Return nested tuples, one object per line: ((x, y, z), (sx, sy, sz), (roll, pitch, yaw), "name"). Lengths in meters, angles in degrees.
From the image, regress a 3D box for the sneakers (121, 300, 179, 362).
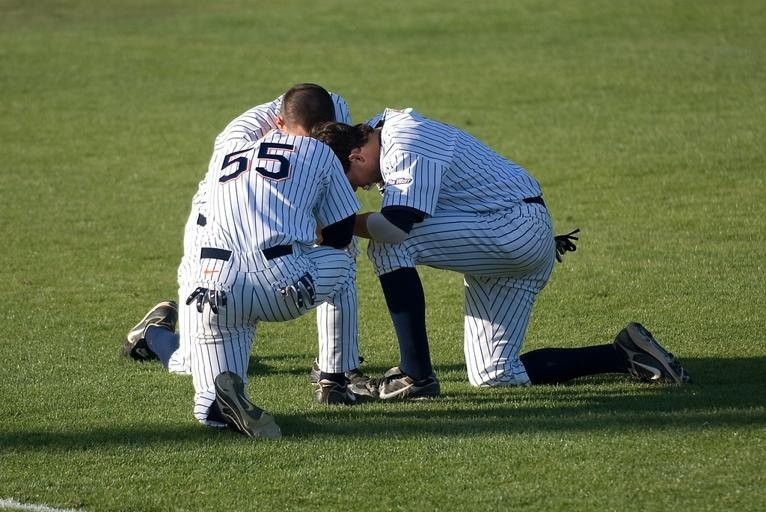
((-1.878, 0.573, 12.300), (0.270, 0.234, 0.684), (-3, 40, 46), "sneakers")

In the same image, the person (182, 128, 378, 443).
((-0.867, 0.213, 11.482), (1.284, 2.220, 0.543), (-2, 5, -8), "person")

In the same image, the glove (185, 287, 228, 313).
((-1.316, 0.329, 11.343), (0.303, 0.196, 0.036), (-1, 5, 12), "glove")
